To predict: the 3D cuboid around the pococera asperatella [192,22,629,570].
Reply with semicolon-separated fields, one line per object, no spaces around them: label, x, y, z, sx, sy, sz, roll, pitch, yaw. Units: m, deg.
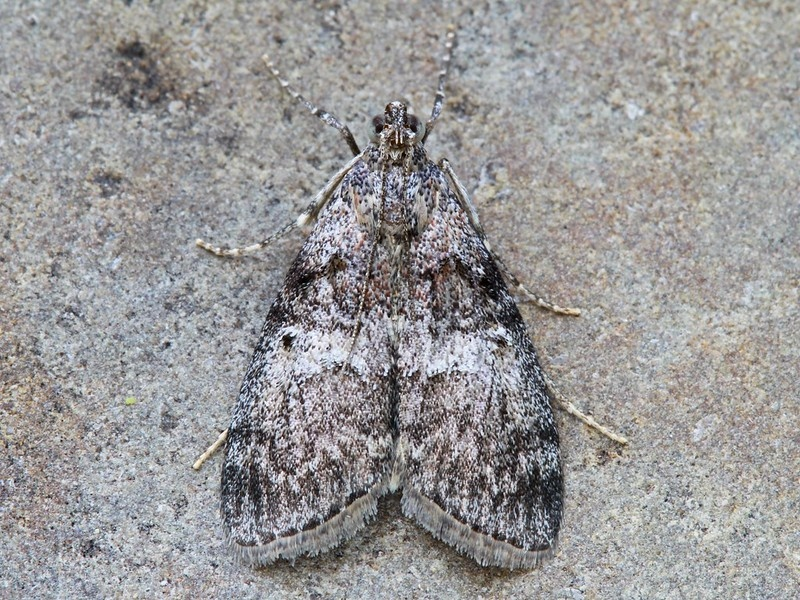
pococera asperatella;0.056;0.074;5.062;1.604;0.523;2.340;-4;83;0
